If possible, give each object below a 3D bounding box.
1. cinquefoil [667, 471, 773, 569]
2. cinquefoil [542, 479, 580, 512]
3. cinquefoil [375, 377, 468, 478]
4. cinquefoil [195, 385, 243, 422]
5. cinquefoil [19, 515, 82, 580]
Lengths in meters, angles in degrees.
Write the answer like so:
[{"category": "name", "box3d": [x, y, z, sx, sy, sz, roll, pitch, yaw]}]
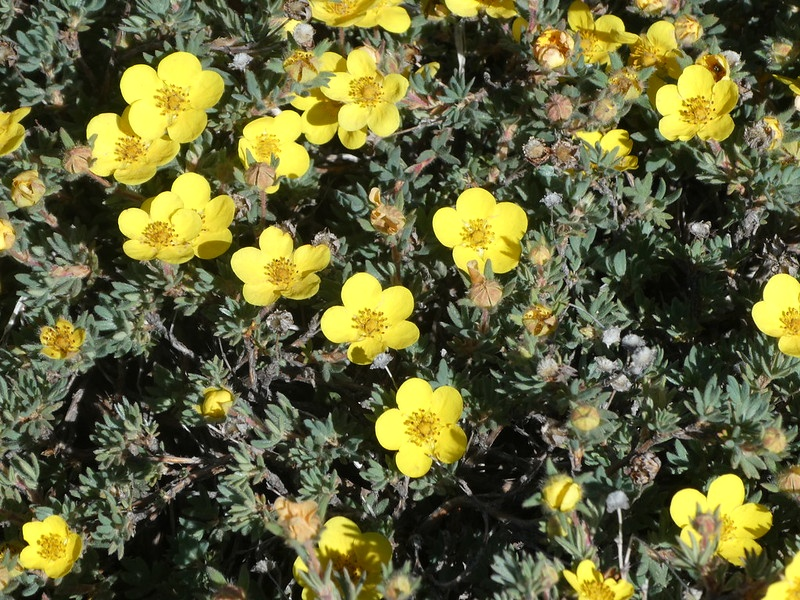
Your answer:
[{"category": "cinquefoil", "box3d": [1.299, 0.897, 3.246, 0.429, 0.412, 0.195, -36, 97, -36]}, {"category": "cinquefoil", "box3d": [0.624, 0.756, 3.020, 0.121, 0.040, 0.139, 4, 99, 8]}, {"category": "cinquefoil", "box3d": [0.112, 0.585, 3.477, 0.405, 0.139, 0.450, 13, 51, 26]}, {"category": "cinquefoil", "box3d": [-0.800, 0.470, 3.466, 0.148, 0.091, 0.137, -36, 64, 17]}, {"category": "cinquefoil", "box3d": [-1.622, 1.140, 3.569, 0.285, 0.347, 0.136, 26, 64, -2]}]
